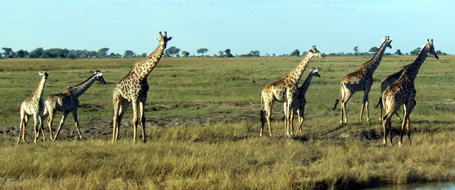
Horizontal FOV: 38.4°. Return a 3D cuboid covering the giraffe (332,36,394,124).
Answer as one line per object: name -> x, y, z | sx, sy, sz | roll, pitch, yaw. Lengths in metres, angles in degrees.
giraffe -> 12.605, -1.403, 60.753 | 6.395, 7.713, 2.067 | -1, 2, -22

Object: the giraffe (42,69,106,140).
giraffe -> -13.893, 1.040, 57.427 | 4.578, 5.728, 2.276 | -1, 1, -11

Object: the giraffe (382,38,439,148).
giraffe -> 15.742, -0.083, 57.196 | 4.075, 9.048, 4.082 | -1, 1, 14

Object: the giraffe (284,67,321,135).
giraffe -> 6.870, 0.802, 59.702 | 2.507, 6.157, 7.040 | 2, 1, 24
